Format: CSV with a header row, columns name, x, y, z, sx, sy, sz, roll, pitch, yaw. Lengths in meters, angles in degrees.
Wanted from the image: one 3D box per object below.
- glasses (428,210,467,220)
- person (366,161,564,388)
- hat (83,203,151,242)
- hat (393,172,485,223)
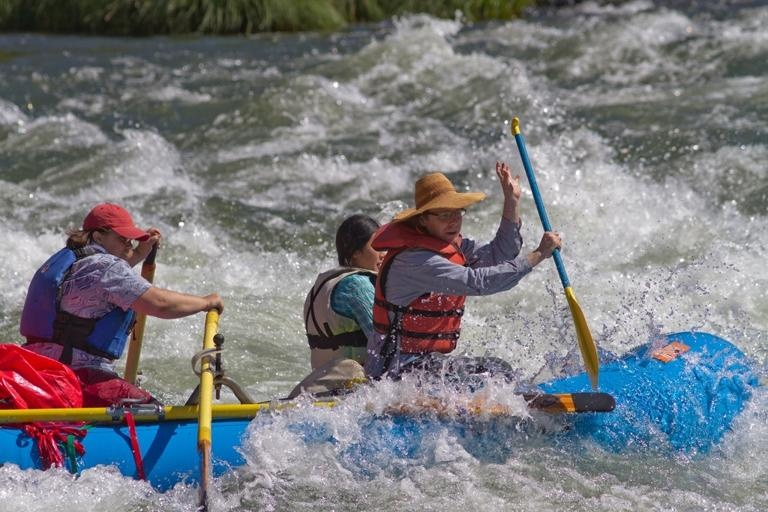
name,x,y,z,sx,sy,sz,roll,pitch,yaw
glasses,0.593,-0.395,11.653,0.334,0.119,0.132,0,22,-13
person,0.535,0.239,11.706,1.344,1.836,0.676,3,22,-4
hat,-2.558,-0.333,12.024,0.702,0.348,0.439,5,-3,9
hat,0.514,-0.566,11.676,0.663,0.273,0.467,-20,3,-18
